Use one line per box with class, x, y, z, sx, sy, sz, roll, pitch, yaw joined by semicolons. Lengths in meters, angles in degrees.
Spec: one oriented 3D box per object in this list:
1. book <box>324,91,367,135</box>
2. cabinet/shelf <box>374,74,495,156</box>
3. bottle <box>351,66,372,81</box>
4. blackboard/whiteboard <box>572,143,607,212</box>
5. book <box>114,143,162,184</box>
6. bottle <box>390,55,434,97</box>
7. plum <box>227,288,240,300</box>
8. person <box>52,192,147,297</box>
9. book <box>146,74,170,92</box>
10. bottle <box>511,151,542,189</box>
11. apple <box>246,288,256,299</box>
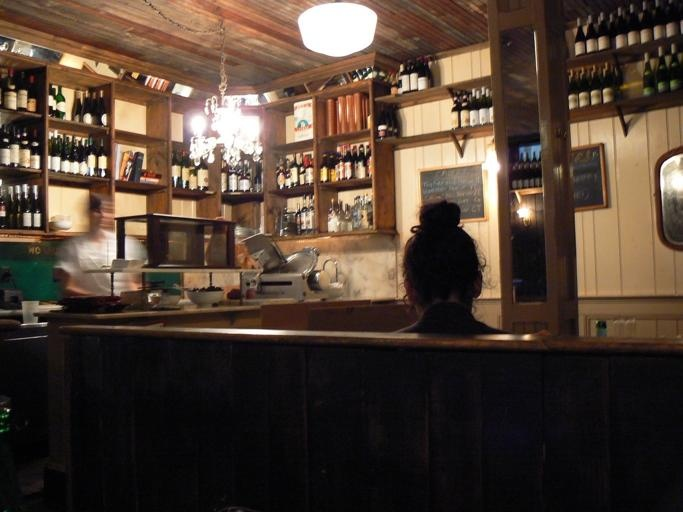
book;0.056;-1.376;6.199;0.233;0.397;0.413;-3;1;-43
cabinet/shelf;0.836;-1.253;5.706;0.903;0.451;0.253;-2;-4;41
bottle;0.187;-1.678;5.943;0.051;0.122;0.273;-18;18;-42
blackboard/whiteboard;1.948;-0.615;5.069;0.260;0.518;0.158;-1;14;24
book;-1.951;-0.884;6.154;0.185;0.367;0.377;4;-1;35
bottle;0.631;-1.626;5.831;0.303;0.371;0.250;3;1;42
plum;-0.742;0.264;4.441;0.070;0.084;0.071;2;1;33
person;-2.047;0.005;5.205;0.561;0.818;0.464;-7;-3;28
book;-1.752;-1.646;6.163;0.045;0.116;0.222;12;5;36
bottle;0.972;-0.446;3.426;0.155;0.208;0.076;4;2;21
apple;-0.634;0.269;4.521;0.063;0.068;0.064;1;1;13
